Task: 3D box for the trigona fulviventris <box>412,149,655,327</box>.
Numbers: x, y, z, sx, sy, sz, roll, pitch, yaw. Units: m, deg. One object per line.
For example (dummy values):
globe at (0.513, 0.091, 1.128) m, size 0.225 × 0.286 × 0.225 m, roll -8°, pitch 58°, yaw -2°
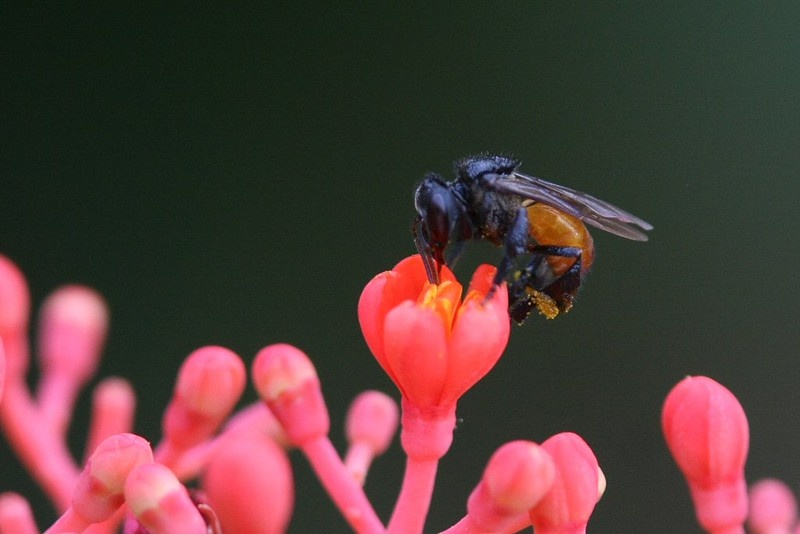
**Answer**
trigona fulviventris at (0.192, -0.038, 1.380) m, size 0.308 × 0.142 × 0.247 m, roll 15°, pitch 24°, yaw -13°
